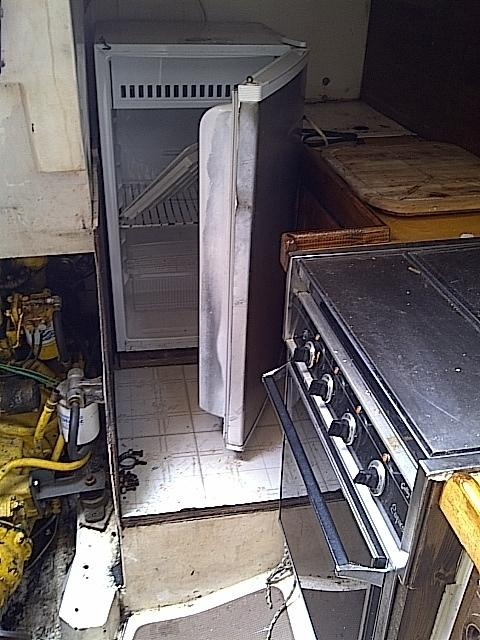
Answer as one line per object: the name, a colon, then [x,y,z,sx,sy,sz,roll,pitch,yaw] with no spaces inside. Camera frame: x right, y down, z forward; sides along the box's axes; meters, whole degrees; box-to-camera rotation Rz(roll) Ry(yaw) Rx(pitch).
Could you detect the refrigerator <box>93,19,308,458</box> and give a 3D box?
refrigerator: [-0.145,-0.320,1.827,0.646,1.415,1.099,-8,26,-18]
